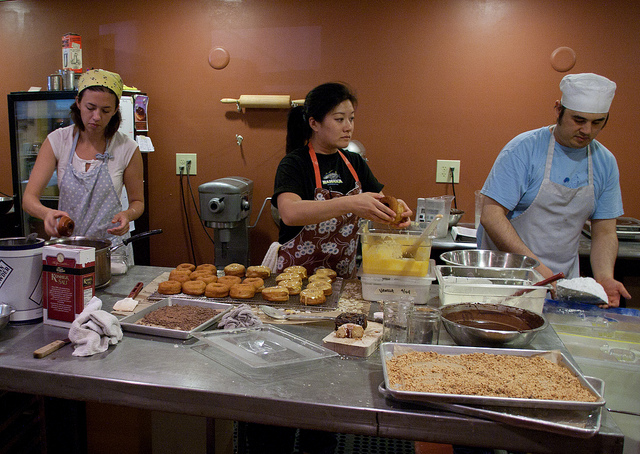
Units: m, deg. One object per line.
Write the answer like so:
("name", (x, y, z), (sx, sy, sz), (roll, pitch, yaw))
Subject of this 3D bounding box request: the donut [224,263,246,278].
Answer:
("donut", (-0.420, 0.210, 2.291), (0.067, 0.044, 0.069), (2, 2, 11))

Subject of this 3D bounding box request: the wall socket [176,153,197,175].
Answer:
("wall socket", (-1.190, -0.572, 4.209), (0.181, 0.191, 0.018), (1, 2, 0))

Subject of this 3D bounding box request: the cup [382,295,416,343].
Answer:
("cup", (0.293, 0.346, 1.739), (0.130, 0.204, 0.121), (0, 5, 0))

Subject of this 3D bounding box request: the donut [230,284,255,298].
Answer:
("donut", (-0.345, 0.276, 2.088), (0.066, 0.032, 0.067), (2, 0, 36))

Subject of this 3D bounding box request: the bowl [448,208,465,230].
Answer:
("bowl", (1.040, -0.063, 3.594), (0.140, 0.106, 0.137), (-1, 8, 0))

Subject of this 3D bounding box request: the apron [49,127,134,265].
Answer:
("apron", (-1.408, -0.258, 2.835), (0.346, 0.642, 0.159), (-4, 14, -17))

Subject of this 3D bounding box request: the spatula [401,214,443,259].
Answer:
("spatula", (0.400, 0.039, 1.953), (0.160, 0.170, 0.210), (-2, 13, 2))

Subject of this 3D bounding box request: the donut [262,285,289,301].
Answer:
("donut", (-0.197, 0.294, 2.094), (0.117, 0.047, 0.086), (-1, 14, -6))

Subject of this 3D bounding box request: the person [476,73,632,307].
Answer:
("person", (1.266, -0.227, 2.468), (0.781, 1.102, 0.360), (0, 13, -2))

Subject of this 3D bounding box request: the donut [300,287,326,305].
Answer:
("donut", (-0.028, 0.303, 2.066), (0.102, 0.043, 0.103), (5, 15, 16))

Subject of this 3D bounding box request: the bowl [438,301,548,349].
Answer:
("bowl", (0.664, 0.371, 1.790), (0.399, 0.132, 0.299), (4, 15, 14))

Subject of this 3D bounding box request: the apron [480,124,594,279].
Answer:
("apron", (1.287, -0.120, 2.577), (0.441, 0.842, 0.154), (-3, 13, -12))

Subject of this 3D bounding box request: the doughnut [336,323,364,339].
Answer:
("doughnut", (0.108, 0.383, 1.735), (0.058, 0.030, 0.059), (1, -1, -21))

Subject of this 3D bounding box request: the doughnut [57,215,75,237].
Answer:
("doughnut", (-1.179, -0.006, 2.184), (0.078, 0.086, 0.083), (14, 8, 42))

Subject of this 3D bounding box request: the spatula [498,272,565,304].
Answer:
("spatula", (0.879, 0.239, 1.904), (0.399, 0.111, 0.093), (-7, 15, -27))

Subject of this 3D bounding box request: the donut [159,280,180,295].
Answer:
("donut", (-0.670, 0.270, 2.093), (0.077, 0.043, 0.050), (3, 14, 10))

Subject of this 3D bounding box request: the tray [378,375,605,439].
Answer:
("tray", (0.545, 0.566, 1.435), (0.585, 0.078, 0.091), (4, 14, 12))

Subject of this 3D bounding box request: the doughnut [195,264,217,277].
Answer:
("doughnut", (-0.562, 0.213, 2.323), (0.088, 0.034, 0.089), (2, 5, 6))

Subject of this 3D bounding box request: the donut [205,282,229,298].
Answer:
("donut", (-0.458, 0.283, 2.094), (0.106, 0.050, 0.065), (-4, 14, -16))

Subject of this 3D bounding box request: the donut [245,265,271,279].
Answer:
("donut", (-0.308, 0.221, 2.309), (0.071, 0.028, 0.073), (1, 6, 25))

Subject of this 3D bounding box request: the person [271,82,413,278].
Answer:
("person", (0.083, -0.176, 2.456), (0.653, 1.124, 0.799), (-1, 14, -6))

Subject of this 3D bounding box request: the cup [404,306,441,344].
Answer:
("cup", (0.385, 0.375, 1.763), (0.134, 0.157, 0.137), (1, 15, 0))

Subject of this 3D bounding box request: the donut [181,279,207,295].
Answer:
("donut", (-0.570, 0.269, 2.122), (0.108, 0.042, 0.099), (-4, 15, -16))

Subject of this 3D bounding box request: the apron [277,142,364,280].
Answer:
("apron", (0.015, -0.051, 2.646), (0.526, 0.824, 0.340), (-2, 13, -9))

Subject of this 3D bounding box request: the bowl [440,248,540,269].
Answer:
("bowl", (0.775, 0.164, 2.162), (0.428, 0.067, 0.235), (1, 14, 4))
